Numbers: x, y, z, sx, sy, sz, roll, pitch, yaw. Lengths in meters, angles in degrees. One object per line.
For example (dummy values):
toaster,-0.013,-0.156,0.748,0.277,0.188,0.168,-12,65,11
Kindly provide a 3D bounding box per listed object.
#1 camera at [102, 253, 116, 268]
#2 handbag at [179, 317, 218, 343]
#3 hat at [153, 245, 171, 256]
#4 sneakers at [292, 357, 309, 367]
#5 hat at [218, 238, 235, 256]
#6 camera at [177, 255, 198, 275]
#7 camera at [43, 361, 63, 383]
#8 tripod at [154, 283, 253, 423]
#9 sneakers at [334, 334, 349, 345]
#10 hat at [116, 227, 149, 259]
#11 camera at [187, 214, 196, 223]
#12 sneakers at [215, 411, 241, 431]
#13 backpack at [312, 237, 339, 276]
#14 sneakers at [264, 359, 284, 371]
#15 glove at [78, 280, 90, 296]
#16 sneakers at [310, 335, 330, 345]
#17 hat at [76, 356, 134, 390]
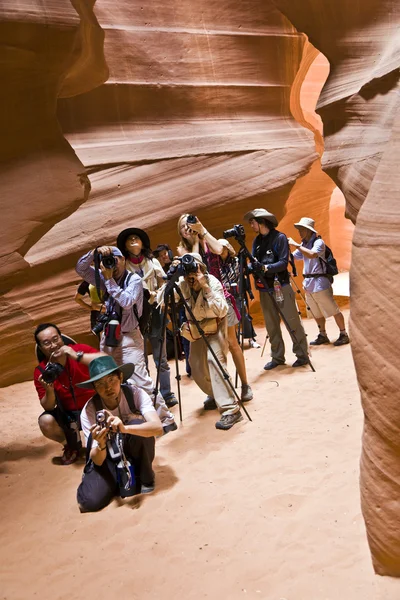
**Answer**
camera,-0.661,-0.284,3.648,0.085,0.103,0.114,-20,10,-26
handbag,-0.006,0.233,3.931,0.231,0.084,0.170,-14,-3,-15
hat,-0.456,-0.588,5.932,0.166,0.094,0.209,-7,5,3
sneakers,1.007,0.633,4.991,0.075,0.071,0.164,-18,-21,40
hat,0.223,-0.467,4.542,0.067,0.175,0.163,1,11,37
camera,-0.091,-0.258,3.863,0.128,0.165,0.169,20,53,14
camera,-1.056,0.527,3.607,0.108,0.144,0.067,19,-4,21
tripod,0.011,0.320,3.964,0.567,1.348,0.535,-10,9,10
sneakers,1.593,0.456,5.689,0.166,0.114,0.256,-9,9,14
hat,-0.536,-0.451,4.050,0.261,0.260,0.195,-14,9,-16
camera,-0.070,-0.665,4.121,0.076,0.069,0.074,0,5,-2
sneakers,0.218,0.940,3.880,0.096,0.098,0.243,-11,-7,29
backpack,1.391,-0.466,5.928,0.422,0.364,0.272,1,-4,25
sneakers,0.776,0.692,5.226,0.255,0.103,0.091,-3,-2,-5
glove,-0.945,-0.089,4.136,0.047,0.118,0.129,26,23,-34
sneakers,1.453,0.492,6.006,0.265,0.113,0.093,-2,-2,22
hat,-0.568,0.428,3.080,0.250,0.108,0.259,-30,-17,3
